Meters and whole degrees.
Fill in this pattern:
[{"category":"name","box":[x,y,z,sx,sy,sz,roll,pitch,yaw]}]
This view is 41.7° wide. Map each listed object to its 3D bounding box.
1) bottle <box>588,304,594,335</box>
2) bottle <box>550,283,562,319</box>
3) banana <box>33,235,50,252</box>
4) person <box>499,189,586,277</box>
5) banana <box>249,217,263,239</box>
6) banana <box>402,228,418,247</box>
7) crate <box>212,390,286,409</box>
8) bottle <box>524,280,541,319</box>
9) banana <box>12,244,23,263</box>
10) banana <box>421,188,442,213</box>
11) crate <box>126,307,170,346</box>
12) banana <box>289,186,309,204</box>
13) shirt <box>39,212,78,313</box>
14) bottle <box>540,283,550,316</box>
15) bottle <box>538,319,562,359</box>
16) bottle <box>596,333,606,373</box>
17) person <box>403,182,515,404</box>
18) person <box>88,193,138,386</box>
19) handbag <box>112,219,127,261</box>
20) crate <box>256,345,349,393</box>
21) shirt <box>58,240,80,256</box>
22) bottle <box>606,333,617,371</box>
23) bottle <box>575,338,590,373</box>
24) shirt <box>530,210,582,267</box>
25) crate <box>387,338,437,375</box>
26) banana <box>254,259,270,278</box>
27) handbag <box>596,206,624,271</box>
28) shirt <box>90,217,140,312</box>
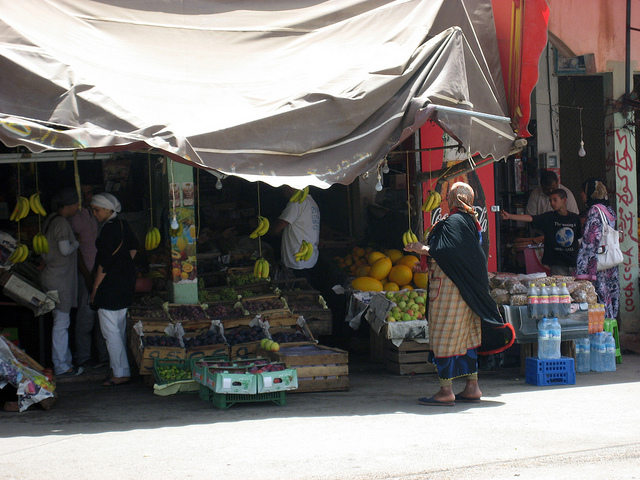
[{"category":"bottle","box":[3.589,1.049,11.103,0.071,0.412,0.241,-5,0,18]},{"category":"bottle","box":[2.951,0.783,10.530,0.155,0.449,0.066,-5,0,-22]},{"category":"banana","box":[-3.582,0.053,10.766,0.120,0.248,0.078,-16,19,-17]},{"category":"person","box":[3.368,-0.060,12.616,1.228,1.530,0.436,-2,-6,19]},{"category":"banana","box":[-0.827,-0.143,11.105,0.116,0.307,0.098,36,-12,-23]},{"category":"banana","box":[1.229,-0.019,11.508,0.130,0.284,0.106,-8,-13,24]},{"category":"crate","box":[-0.818,1.846,9.711,0.817,0.217,0.174,-6,0,-9]},{"category":"bottle","box":[2.692,0.770,10.668,0.183,0.491,0.293,-5,0,13]},{"category":"banana","box":[-3.911,0.175,10.844,0.139,0.218,0.088,-5,0,-16]},{"category":"banana","box":[1.532,-0.516,11.433,0.194,0.381,0.126,22,-14,29]},{"category":"crate","box":[-2.330,1.085,11.036,0.509,0.328,0.509,1,4,-33]},{"category":"banana","box":[-0.273,-0.585,11.603,0.193,0.253,0.126,9,7,-37]},{"category":"shirt","box":[-3.488,0.360,11.231,0.380,1.413,0.448,11,5,43]},{"category":"bottle","box":[2.814,0.762,10.529,0.114,0.409,0.052,-5,0,-1]},{"category":"bottle","box":[2.884,1.246,10.575,0.308,0.507,0.259,-5,0,15]},{"category":"bottle","box":[3.744,1.501,11.210,0.149,0.536,0.046,-5,0,15]},{"category":"person","box":[1.575,0.629,9.549,0.984,2.531,0.418,-5,0,5]},{"category":"person","box":[-2.623,0.647,10.744,0.606,2.364,0.421,-5,0,-25]},{"category":"handbag","box":[-2.545,-0.021,10.730,0.135,0.393,0.287,13,16,-5]},{"category":"crate","box":[-0.120,1.616,10.283,0.914,0.547,0.874,-1,0,-13]},{"category":"shirt","box":[-3.339,0.108,11.135,0.115,0.196,0.330,-5,0,23]},{"category":"bottle","box":[3.916,1.503,11.267,0.086,0.521,0.240,-5,0,40]},{"category":"bottle","box":[3.514,1.551,11.255,0.146,0.465,0.232,-5,0,38]},{"category":"shirt","box":[3.373,-0.007,11.937,0.670,0.830,0.233,-5,0,15]},{"category":"crate","box":[1.202,1.551,11.255,0.510,0.400,0.516,0,1,-13]},{"category":"banana","box":[-0.827,0.417,11.808,0.173,0.243,0.091,-3,11,-3]},{"category":"handbag","box":[3.934,-0.021,11.481,0.365,0.907,0.220,-5,0,8]},{"category":"shirt","box":[-2.663,0.310,10.680,0.555,1.145,0.220,-5,0,-20]}]
